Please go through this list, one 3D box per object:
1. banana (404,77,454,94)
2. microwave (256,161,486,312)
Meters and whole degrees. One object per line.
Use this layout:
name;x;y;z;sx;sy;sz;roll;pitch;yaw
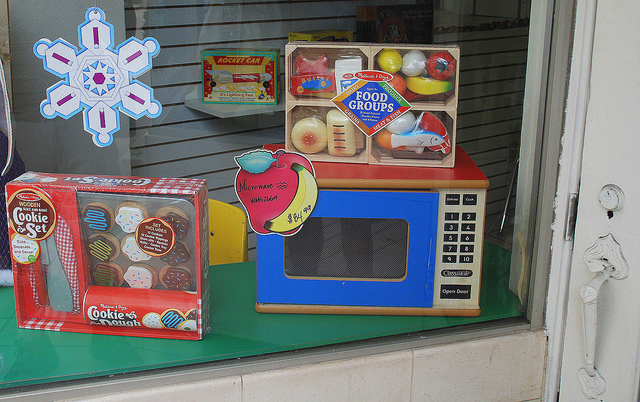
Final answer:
banana;0.349;-0.372;1.815;0.149;0.053;0.019;-2;-5;-3
microwave;0.173;0.123;2.067;0.772;0.461;0.445;1;12;3
